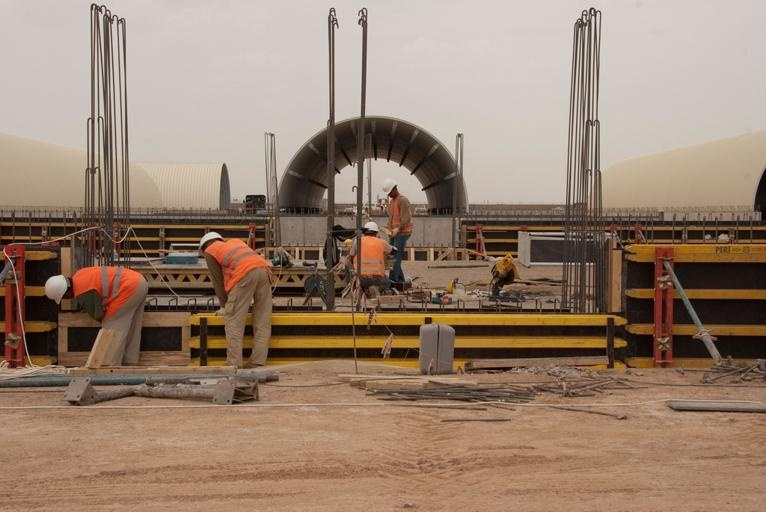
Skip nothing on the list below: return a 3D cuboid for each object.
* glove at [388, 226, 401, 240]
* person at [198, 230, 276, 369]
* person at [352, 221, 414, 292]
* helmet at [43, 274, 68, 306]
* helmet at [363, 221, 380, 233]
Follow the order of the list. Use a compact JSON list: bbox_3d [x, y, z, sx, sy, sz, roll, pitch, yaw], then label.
[{"bbox_3d":[0.217,-0.462,20.452,0.173,0.189,0.216,-3,17,6],"label":"glove"},{"bbox_3d":[-2.277,0.683,16.881,1.031,2.102,0.661,-1,3,-2],"label":"person"},{"bbox_3d":[-0.184,0.067,18.927,0.778,1.360,0.828,6,4,29],"label":"person"},{"bbox_3d":[-5.160,0.540,17.018,0.378,0.470,0.463,-1,3,-17],"label":"helmet"},{"bbox_3d":[-0.194,-0.484,19.357,0.262,0.135,0.355,3,13,-2],"label":"helmet"}]
